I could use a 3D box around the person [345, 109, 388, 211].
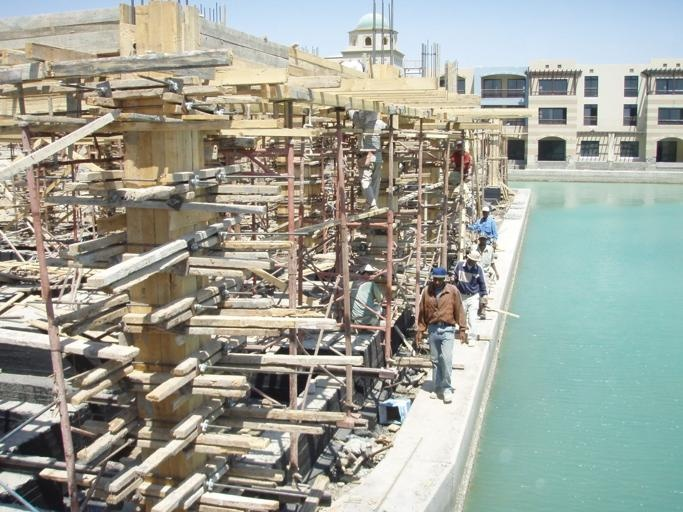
[{"bbox_3d":[0.411,-1.685,13.371,0.618,1.631,1.300,5,14,2],"label":"person"}]

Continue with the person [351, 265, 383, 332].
[{"bbox_3d":[0.452,0.732,13.913,0.577,1.193,1.296,5,14,3],"label":"person"}]

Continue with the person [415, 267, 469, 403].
[{"bbox_3d":[1.636,1.261,12.127,0.587,1.919,0.863,-3,17,-25],"label":"person"}]
